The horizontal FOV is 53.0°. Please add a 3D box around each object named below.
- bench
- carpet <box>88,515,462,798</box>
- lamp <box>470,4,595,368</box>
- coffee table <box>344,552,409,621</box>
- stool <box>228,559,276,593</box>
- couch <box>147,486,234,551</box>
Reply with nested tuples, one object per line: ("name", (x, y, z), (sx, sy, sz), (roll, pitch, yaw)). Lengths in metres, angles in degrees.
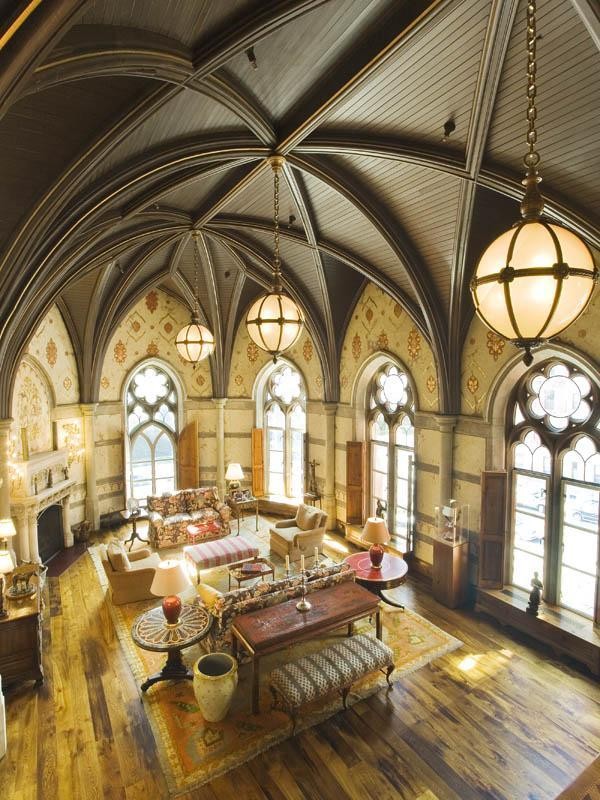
("bench", (0.191, 2.651, 5.995), (1.399, 0.509, 0.575), (-11, 16, -38))
("carpet", (-0.911, 2.904, 8.721), (3.923, 0.339, 6.306), (-5, 10, -30))
("lamp", (1.174, -0.738, 3.063), (0.587, 1.090, 0.334), (4, 9, 26))
("coffee table", (0.991, 2.461, 8.150), (0.926, 0.688, 0.885), (-4, 8, -26))
("stool", (-0.729, 2.574, 8.884), (0.628, 0.465, 0.504), (-4, 5, -38))
("couch", (-2.060, 2.242, 11.313), (1.598, 1.011, 0.915), (-3, 1, -34))
